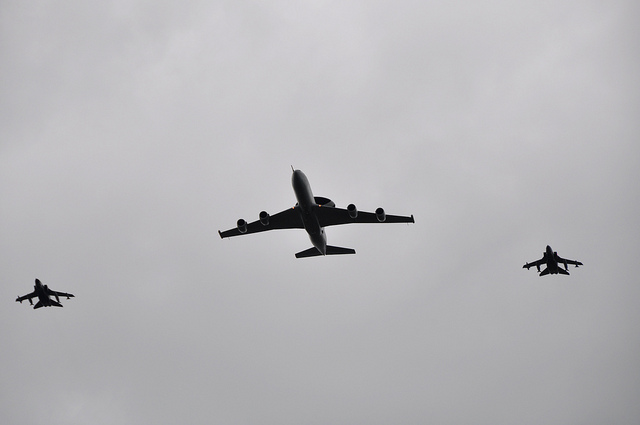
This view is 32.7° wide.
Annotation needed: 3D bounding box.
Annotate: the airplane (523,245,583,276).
[{"bbox_3d":[28.293,6.202,132.837,7.658,2.390,6.336,-8,-46,20],"label":"airplane"}]
